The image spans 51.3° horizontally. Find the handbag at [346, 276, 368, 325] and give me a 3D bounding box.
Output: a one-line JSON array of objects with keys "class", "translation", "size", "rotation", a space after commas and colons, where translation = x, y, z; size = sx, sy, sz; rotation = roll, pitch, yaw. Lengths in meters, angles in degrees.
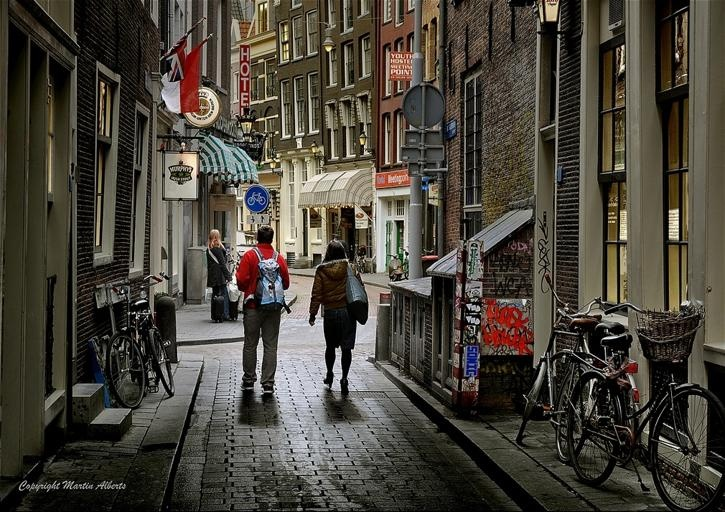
[{"class": "handbag", "translation": [-0.088, 0.658, 10.849], "size": [0.251, 0.626, 0.734], "rotation": [-9, 32, 3]}]

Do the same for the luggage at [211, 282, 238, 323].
[{"class": "luggage", "translation": [-3.479, 1.294, 19.459], "size": [0.575, 1.092, 0.622], "rotation": [17, -10, -43]}]

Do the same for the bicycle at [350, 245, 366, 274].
[{"class": "bicycle", "translation": [-0.151, 0.169, 41.432], "size": [0.662, 0.988, 1.498], "rotation": [0, 1, -13]}]

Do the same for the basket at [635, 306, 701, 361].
[{"class": "basket", "translation": [2.448, 0.612, 6.013], "size": [0.381, 0.392, 0.453], "rotation": [-4, 4, 0]}]

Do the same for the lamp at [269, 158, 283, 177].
[{"class": "lamp", "translation": [-5.958, -6.137, 52.330], "size": [0.523, 1.093, 1.296], "rotation": [3, 1, -31]}]

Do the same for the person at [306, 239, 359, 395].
[{"class": "person", "translation": [-0.441, 0.856, 11.286], "size": [0.694, 2.105, 1.283], "rotation": [3, 1, -3]}]

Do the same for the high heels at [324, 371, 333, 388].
[{"class": "high heels", "translation": [-0.506, 1.842, 11.257], "size": [0.092, 0.145, 0.225], "rotation": [2, 1, -1]}]

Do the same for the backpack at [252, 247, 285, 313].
[{"class": "backpack", "translation": [-1.328, 0.365, 10.670], "size": [0.445, 0.938, 0.481], "rotation": [-3, -8, 30]}]
